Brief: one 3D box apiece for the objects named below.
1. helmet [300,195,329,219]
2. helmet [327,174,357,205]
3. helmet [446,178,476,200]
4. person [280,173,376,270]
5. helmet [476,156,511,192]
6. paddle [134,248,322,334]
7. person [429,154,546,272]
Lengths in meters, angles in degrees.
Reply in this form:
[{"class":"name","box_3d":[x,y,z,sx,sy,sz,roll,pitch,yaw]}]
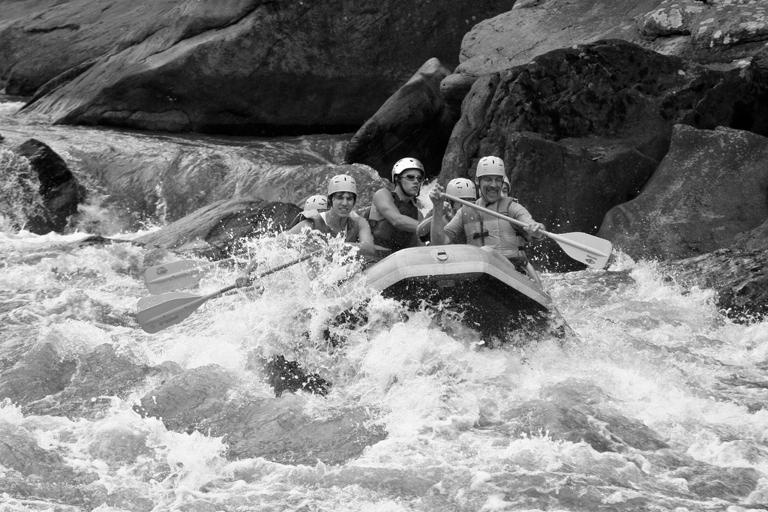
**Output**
[{"class":"helmet","box_3d":[-0.919,-0.703,12.333,0.274,0.341,0.366,6,-34,-4]},{"class":"helmet","box_3d":[-0.537,-0.885,11.830,0.273,0.363,0.356,3,8,-3]},{"class":"helmet","box_3d":[0.965,-0.909,12.053,0.251,0.226,0.343,7,13,-20]},{"class":"person","box_3d":[-0.631,-0.411,11.837,1.100,1.209,0.788,7,6,-7]},{"class":"helmet","box_3d":[1.417,-1.093,12.015,0.380,0.468,0.484,1,25,-3]},{"class":"paddle","box_3d":[-1.881,0.462,11.584,2.623,0.556,0.173,-20,10,-11]},{"class":"person","box_3d":[1.430,-0.534,12.222,1.435,2.096,1.201,-3,-20,-1]}]
